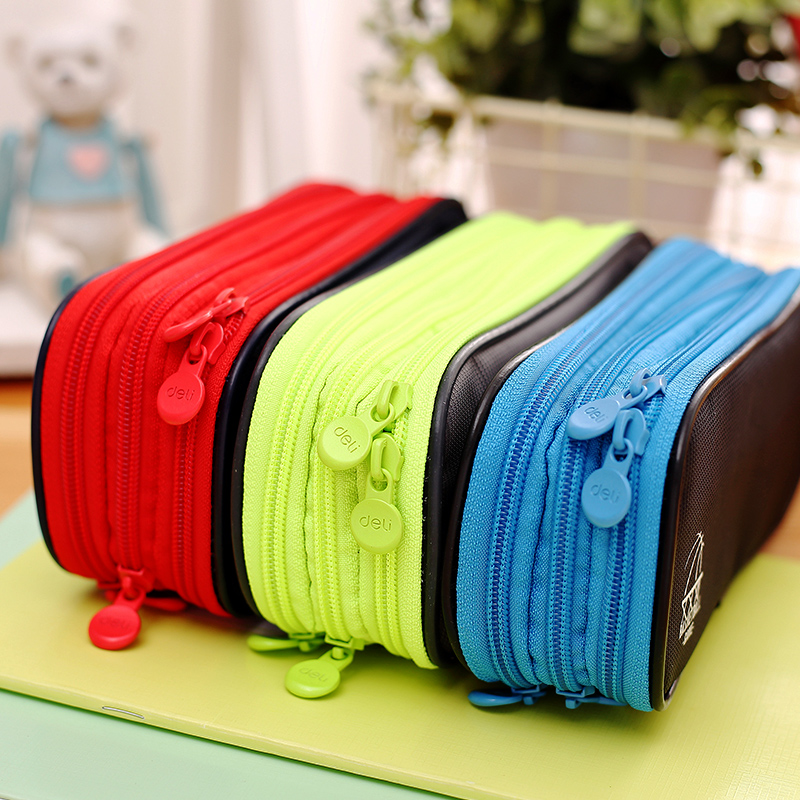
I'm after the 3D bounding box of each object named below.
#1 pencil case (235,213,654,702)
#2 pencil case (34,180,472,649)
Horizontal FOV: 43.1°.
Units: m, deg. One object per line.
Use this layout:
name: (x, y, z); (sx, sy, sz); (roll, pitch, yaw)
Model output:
pencil case: (0.026, 0.054, 0.740); (0.131, 0.176, 0.375); (10, 33, 25)
pencil case: (-0.108, 0.022, 0.795); (0.175, 0.236, 0.416); (11, 34, 22)
